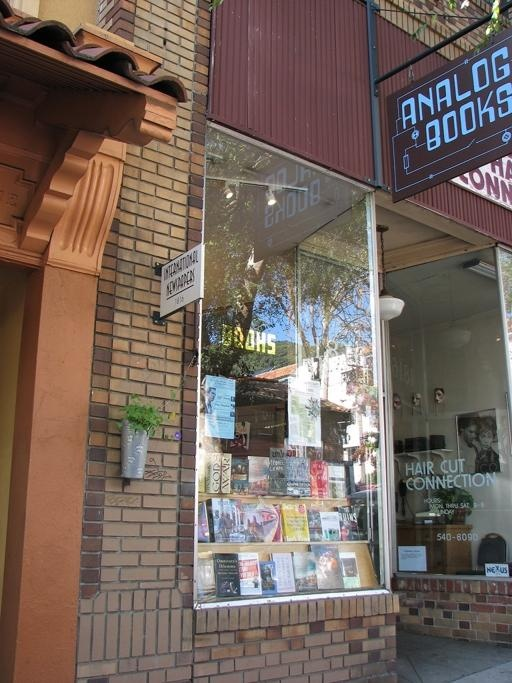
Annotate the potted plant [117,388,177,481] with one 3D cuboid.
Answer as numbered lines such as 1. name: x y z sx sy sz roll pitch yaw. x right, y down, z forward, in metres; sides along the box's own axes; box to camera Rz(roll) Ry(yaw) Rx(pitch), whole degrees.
1. potted plant: -0.602 0.501 3.145 0.201 0.447 0.215 4 -5 -33

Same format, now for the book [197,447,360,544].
1. book: 0.027 1.110 4.129 1.315 0.721 0.677 6 -5 -35

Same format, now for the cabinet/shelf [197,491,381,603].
1. cabinet/shelf: 0.192 1.395 3.883 1.371 0.798 0.759 9 -7 -32

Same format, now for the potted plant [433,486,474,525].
1. potted plant: 2.231 1.848 6.573 0.365 0.371 0.378 1 -9 10
